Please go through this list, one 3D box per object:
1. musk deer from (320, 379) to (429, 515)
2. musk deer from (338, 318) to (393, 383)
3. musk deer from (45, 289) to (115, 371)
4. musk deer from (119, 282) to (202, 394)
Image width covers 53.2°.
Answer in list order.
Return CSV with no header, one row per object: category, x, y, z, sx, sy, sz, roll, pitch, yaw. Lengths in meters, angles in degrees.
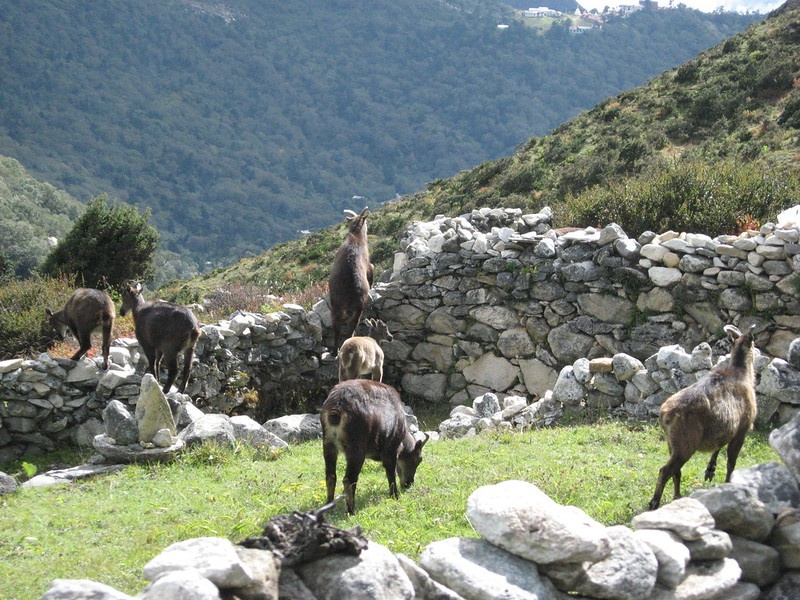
musk deer,-0.354,2.375,12.639,0.764,1.975,2.728,-1,-11,29
musk deer,-0.687,1.094,15.166,0.555,1.427,1.824,-2,0,27
musk deer,-6.531,0.538,16.332,0.790,1.652,2.517,5,-4,-41
musk deer,-4.776,0.721,15.558,2.461,2.054,0.748,7,2,37
